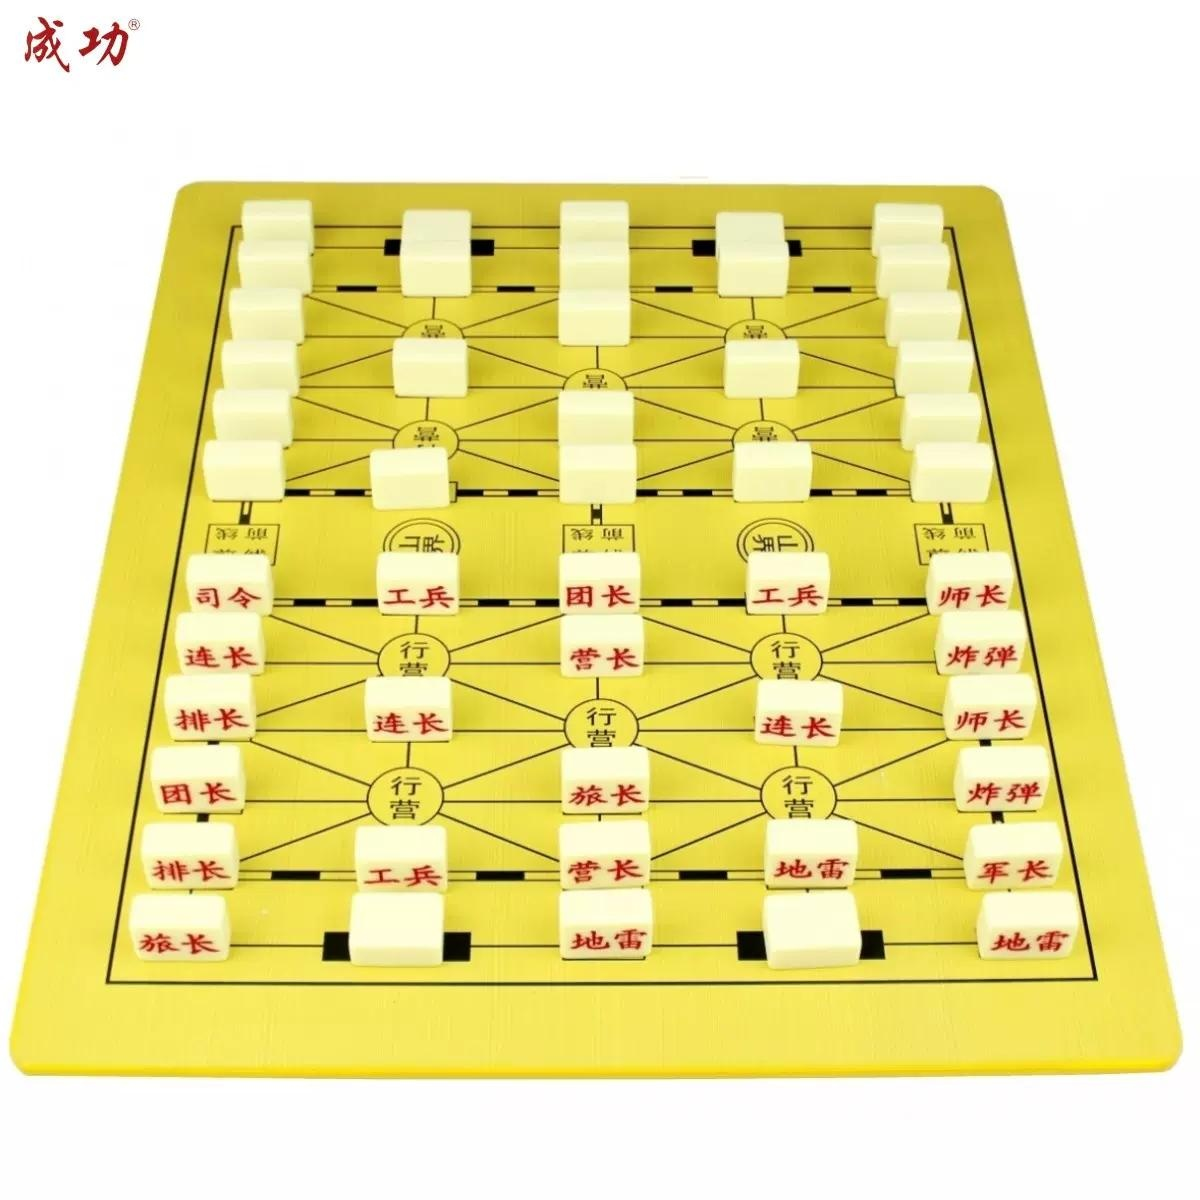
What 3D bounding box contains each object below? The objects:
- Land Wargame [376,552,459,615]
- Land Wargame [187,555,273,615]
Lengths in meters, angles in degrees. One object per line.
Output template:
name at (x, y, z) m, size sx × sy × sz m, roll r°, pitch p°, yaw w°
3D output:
Land Wargame at (-0.505, -0.054, 4.036) m, size 0.224 × 0.177 × 0.124 m, roll 3°, pitch -13°, yaw -3°
Land Wargame at (-1.023, -0.045, 4.023) m, size 0.234 × 0.153 × 0.112 m, roll 4°, pitch -13°, yaw -8°
